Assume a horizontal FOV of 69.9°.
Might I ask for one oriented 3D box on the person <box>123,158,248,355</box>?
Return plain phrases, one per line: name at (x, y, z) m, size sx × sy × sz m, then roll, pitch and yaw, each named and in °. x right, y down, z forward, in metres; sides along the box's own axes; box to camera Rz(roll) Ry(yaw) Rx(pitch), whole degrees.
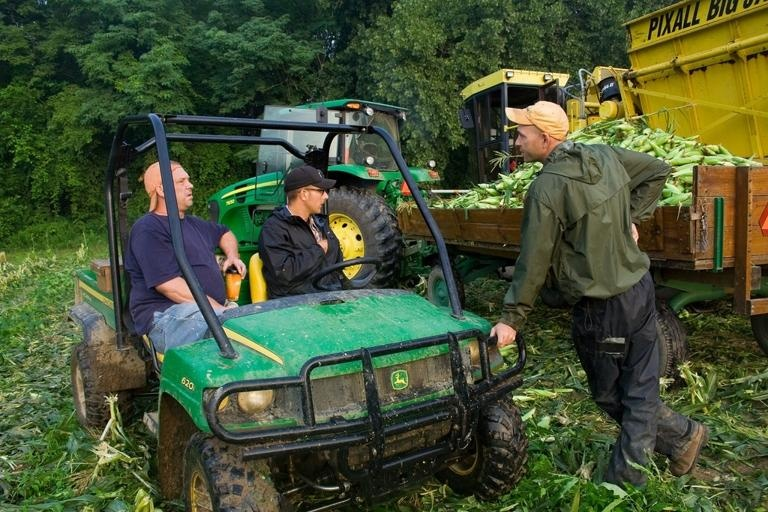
person at (-1.718, 0.142, 4.735) m, size 1.407 × 1.907 × 0.805 m, roll 3°, pitch 0°, yaw -9°
